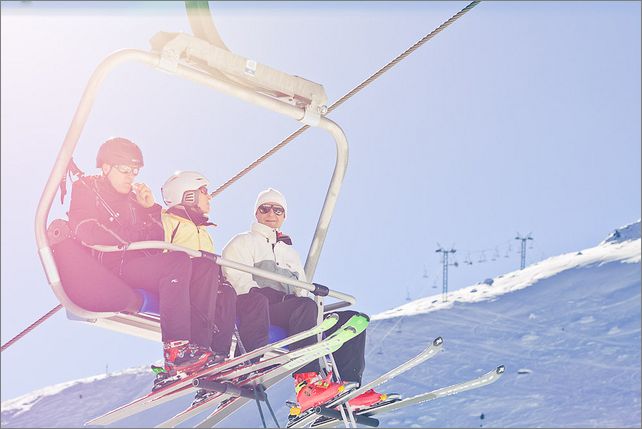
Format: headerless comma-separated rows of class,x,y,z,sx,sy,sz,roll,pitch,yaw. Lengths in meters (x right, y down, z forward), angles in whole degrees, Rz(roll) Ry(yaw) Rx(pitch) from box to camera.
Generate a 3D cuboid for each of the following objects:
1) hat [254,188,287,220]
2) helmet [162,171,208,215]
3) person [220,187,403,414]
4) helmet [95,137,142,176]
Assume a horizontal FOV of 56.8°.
hat,-0.518,-0.209,6.512,0.249,0.293,0.168,25,-33,-1
helmet,-1.313,-0.266,6.049,0.550,0.370,0.387,-5,-1,4
person,-0.235,0.775,6.169,1.628,2.375,1.141,-14,-26,32
helmet,-1.874,-0.576,5.570,0.469,0.304,0.340,5,6,6
